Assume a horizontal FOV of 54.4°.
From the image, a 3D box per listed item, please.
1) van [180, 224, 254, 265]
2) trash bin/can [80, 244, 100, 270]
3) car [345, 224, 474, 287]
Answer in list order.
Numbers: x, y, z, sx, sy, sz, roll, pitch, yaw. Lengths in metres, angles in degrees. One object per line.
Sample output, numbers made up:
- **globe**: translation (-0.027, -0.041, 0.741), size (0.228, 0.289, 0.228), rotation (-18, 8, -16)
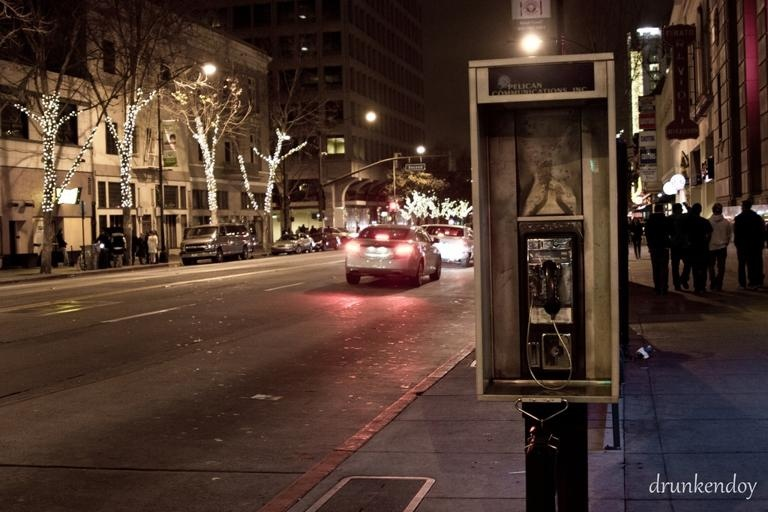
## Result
- **van**: translation (-10.197, -0.751, 45.761), size (2.451, 2.149, 5.439), rotation (-1, 3, 16)
- **trash bin/can**: translation (-14.719, 0.035, 37.485), size (1.034, 1.268, 1.098), rotation (-2, 3, -32)
- **car**: translation (0.296, -0.075, 25.734), size (3.349, 2.004, 4.873), rotation (1, 3, 35)
